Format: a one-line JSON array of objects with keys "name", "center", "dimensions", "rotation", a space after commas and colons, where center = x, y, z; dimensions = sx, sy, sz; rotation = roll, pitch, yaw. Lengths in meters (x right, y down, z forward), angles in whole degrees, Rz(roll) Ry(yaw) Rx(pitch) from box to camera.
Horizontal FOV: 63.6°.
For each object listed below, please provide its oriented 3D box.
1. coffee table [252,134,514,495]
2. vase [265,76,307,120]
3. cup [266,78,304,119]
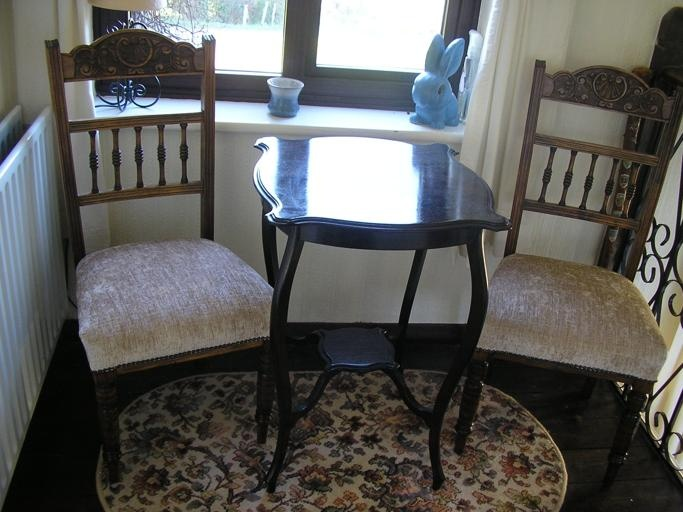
[{"name": "coffee table", "center": [0.051, 0.200, 1.950], "dimensions": [0.931, 0.989, 0.897], "rotation": [-11, 29, -33]}, {"name": "vase", "center": [-0.249, -0.643, 2.289], "dimensions": [0.161, 0.126, 0.153], "rotation": [26, 36, 27]}, {"name": "cup", "center": [-0.235, -0.652, 2.259], "dimensions": [0.147, 0.128, 0.158], "rotation": [6, 33, -4]}]
